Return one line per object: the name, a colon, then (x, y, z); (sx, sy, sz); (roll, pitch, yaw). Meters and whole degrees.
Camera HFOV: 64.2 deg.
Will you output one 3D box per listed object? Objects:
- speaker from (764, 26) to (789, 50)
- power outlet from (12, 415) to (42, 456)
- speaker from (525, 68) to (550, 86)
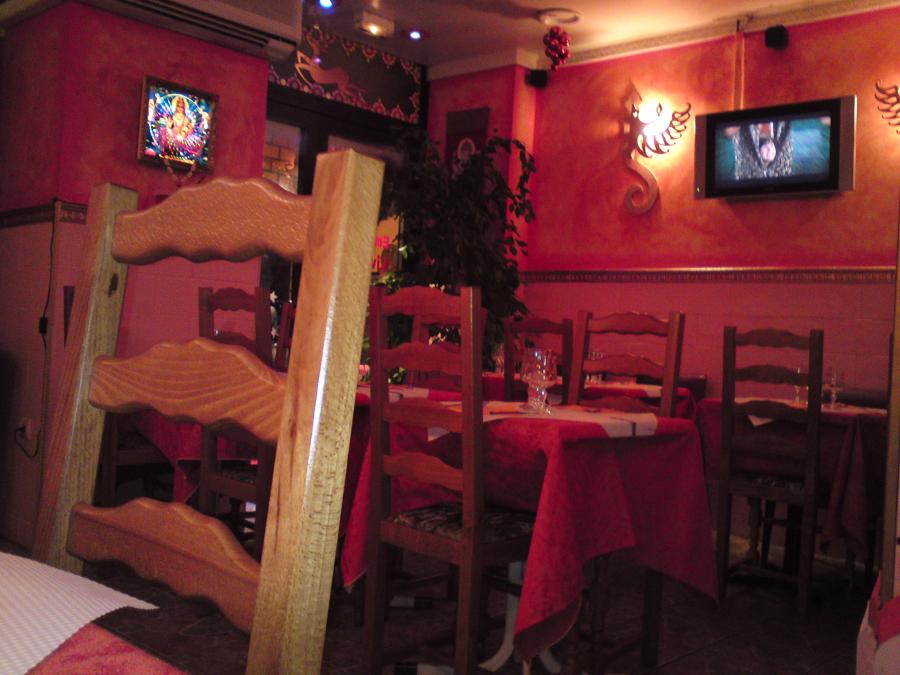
speaker: (2.462, -2.245, 5.376); (0.169, 0.163, 0.152); (0, -6, 27)
power outlet: (-2.192, 0.514, 3.741); (0.146, 0.227, 0.078); (2, 6, 29)
speaker: (0.791, -2.346, 6.520); (0.174, 0.169, 0.169); (-1, -6, 34)
